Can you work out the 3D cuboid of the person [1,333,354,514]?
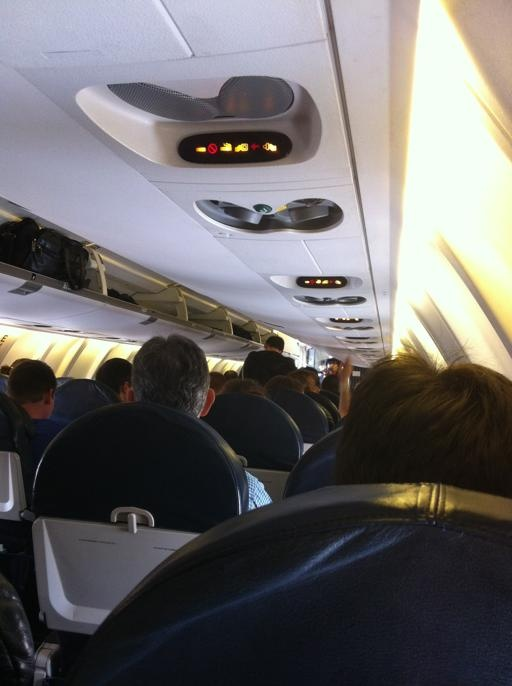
[{"bbox_3d":[-0.466,0.330,2.805,1.441,0.532,0.456,5,3,24],"label":"person"}]
